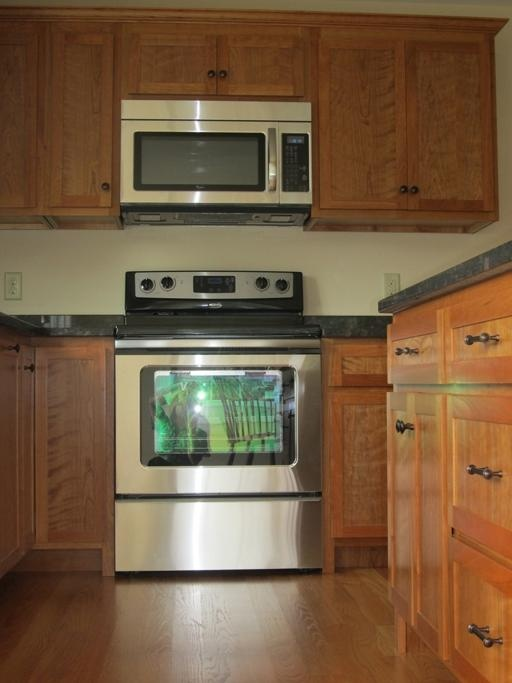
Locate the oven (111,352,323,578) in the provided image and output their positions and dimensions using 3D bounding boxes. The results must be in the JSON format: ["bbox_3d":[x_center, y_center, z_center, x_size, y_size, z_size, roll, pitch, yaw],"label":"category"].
[{"bbox_3d":[-0.128,0.395,2.492,0.753,0.840,0.582,0,8,0],"label":"oven"}]
